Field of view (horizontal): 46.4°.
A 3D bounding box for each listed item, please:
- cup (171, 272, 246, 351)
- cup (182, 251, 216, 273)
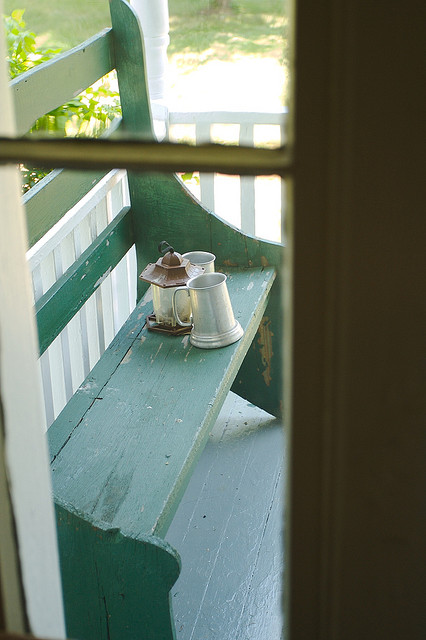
[{"bbox_3d":[-0.020,-0.035,1.724,0.209,0.227,0.187,-6,25,8],"label":"cup"},{"bbox_3d":[-0.059,-0.237,1.957,0.092,0.100,0.099,-1,33,0],"label":"cup"}]
